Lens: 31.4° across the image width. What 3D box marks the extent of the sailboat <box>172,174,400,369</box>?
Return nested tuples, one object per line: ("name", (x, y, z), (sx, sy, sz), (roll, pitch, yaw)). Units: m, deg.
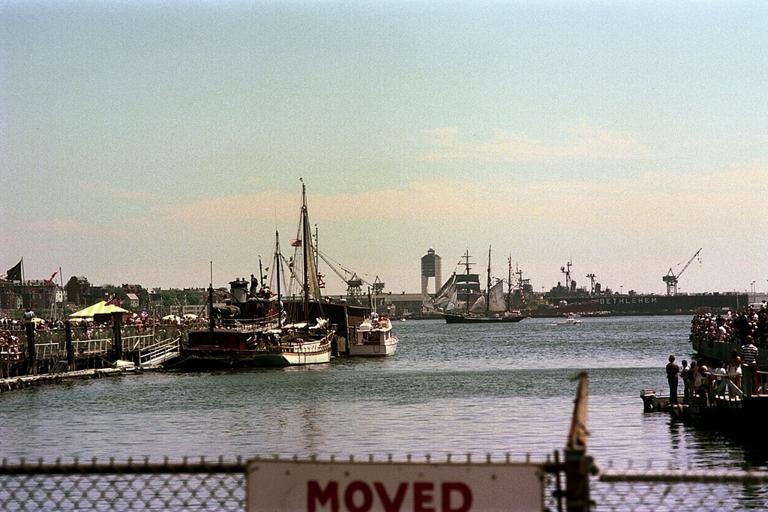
("sailboat", (-9.308, 1.189, 130.958), (18.843, 19.451, 68.643), (0, -5, -1))
